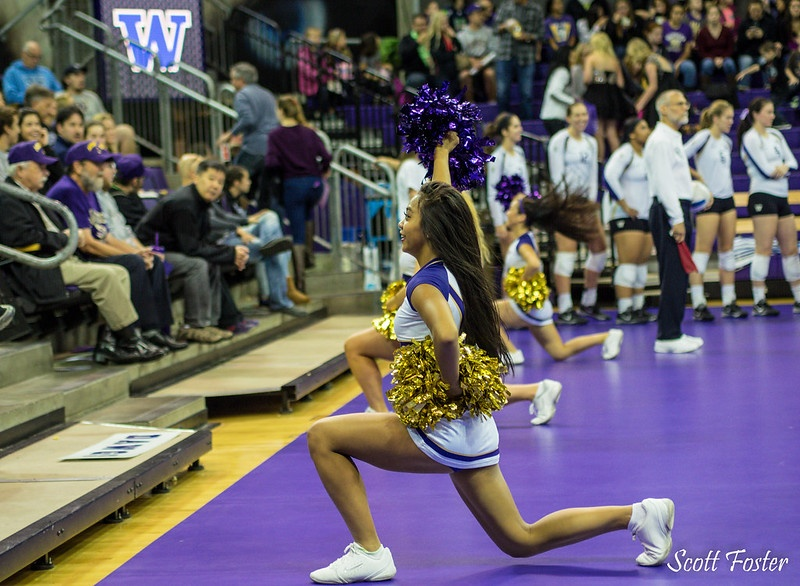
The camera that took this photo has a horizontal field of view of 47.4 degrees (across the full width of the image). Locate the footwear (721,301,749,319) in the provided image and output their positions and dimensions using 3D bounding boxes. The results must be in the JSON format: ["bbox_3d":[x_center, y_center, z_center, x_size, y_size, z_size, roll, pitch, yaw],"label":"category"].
[{"bbox_3d":[3.710,0.218,10.125,0.299,0.153,0.140,-1,3,5],"label":"footwear"}]

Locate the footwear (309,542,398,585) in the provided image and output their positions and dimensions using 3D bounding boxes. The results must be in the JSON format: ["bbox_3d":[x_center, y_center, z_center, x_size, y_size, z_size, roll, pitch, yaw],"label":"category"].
[{"bbox_3d":[-0.199,1.342,4.475,0.478,0.217,0.166,0,-9,-2],"label":"footwear"}]

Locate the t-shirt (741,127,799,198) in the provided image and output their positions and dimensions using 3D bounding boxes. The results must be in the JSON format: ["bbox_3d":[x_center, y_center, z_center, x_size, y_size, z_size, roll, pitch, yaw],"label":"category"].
[{"bbox_3d":[3.947,-1.393,9.742,0.550,0.757,0.354,-4,9,-7],"label":"t-shirt"}]

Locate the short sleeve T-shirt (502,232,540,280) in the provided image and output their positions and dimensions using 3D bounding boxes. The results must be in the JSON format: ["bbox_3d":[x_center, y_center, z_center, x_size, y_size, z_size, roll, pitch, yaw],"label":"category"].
[{"bbox_3d":[1.104,-0.321,8.348,0.193,0.352,0.357,-4,5,45],"label":"short sleeve T-shirt"}]

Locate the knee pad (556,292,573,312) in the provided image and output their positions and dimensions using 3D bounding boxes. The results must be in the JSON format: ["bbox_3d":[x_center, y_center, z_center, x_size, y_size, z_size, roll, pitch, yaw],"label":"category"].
[{"bbox_3d":[1.866,0.123,10.408,0.177,0.212,0.212,-2,-6,-1],"label":"knee pad"}]

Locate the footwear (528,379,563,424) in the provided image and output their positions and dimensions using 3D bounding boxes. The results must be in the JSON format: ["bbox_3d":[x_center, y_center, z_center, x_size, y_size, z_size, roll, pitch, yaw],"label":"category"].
[{"bbox_3d":[1.043,0.793,6.467,0.175,0.423,0.141,6,28,-1],"label":"footwear"}]

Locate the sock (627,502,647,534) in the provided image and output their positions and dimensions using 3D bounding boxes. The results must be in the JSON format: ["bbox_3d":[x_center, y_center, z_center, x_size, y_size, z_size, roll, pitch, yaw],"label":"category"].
[{"bbox_3d":[1.147,1.084,4.367,0.066,0.093,0.122,17,12,15],"label":"sock"}]

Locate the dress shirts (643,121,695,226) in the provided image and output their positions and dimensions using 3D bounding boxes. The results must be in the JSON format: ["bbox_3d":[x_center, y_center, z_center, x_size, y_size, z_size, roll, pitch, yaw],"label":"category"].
[{"bbox_3d":[2.434,-1.072,8.269,0.387,0.906,1.039,-5,11,11],"label":"dress shirts"}]

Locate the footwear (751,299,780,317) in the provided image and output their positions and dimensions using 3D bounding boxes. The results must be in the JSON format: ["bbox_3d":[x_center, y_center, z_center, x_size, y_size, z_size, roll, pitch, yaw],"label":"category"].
[{"bbox_3d":[4.046,0.197,10.099,0.340,0.208,0.125,2,2,9],"label":"footwear"}]

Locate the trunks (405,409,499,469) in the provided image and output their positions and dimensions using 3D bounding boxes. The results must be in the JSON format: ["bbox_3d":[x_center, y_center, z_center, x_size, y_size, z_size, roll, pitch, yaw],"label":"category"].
[{"bbox_3d":[0.277,0.698,4.236,0.261,0.180,0.328,-7,6,-40],"label":"trunks"}]

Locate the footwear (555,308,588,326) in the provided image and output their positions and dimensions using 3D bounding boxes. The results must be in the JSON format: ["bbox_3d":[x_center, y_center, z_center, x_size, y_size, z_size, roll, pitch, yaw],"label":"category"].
[{"bbox_3d":[1.944,0.294,10.352,0.393,0.191,0.146,0,2,9],"label":"footwear"}]

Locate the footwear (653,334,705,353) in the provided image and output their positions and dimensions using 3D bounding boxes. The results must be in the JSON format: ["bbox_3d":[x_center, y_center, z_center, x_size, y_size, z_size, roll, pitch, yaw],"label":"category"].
[{"bbox_3d":[2.605,0.503,8.526,0.320,0.133,0.197,-4,1,9],"label":"footwear"}]

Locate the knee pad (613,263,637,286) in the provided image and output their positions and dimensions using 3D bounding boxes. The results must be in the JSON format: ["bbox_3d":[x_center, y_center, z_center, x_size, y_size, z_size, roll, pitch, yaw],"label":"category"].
[{"bbox_3d":[2.471,-0.168,10.060,0.326,0.323,0.195,2,0,-30],"label":"knee pad"}]

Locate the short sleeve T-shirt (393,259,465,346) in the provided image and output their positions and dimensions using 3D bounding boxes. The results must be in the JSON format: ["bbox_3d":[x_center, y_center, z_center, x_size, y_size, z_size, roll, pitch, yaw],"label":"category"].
[{"bbox_3d":[0.115,0.060,4.268,0.358,0.410,0.253,-1,9,13],"label":"short sleeve T-shirt"}]

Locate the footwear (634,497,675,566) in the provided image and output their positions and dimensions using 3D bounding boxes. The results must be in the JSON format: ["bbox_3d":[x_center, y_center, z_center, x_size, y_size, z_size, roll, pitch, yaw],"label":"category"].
[{"bbox_3d":[1.237,1.168,4.442,0.218,0.350,0.200,0,2,43],"label":"footwear"}]

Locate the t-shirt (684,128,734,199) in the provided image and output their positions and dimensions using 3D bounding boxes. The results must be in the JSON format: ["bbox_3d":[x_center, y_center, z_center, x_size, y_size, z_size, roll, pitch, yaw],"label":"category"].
[{"bbox_3d":[3.326,-1.360,9.709,0.723,0.733,0.354,0,3,-21],"label":"t-shirt"}]

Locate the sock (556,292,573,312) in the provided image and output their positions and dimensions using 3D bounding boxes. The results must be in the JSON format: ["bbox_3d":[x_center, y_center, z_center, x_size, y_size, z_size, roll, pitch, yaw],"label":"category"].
[{"bbox_3d":[1.886,0.126,10.406,0.176,0.212,0.212,-2,-6,-1],"label":"sock"}]

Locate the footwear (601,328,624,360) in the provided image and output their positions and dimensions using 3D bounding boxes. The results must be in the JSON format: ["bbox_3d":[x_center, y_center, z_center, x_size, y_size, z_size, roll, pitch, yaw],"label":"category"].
[{"bbox_3d":[1.966,0.481,8.413,0.128,0.316,0.181,-5,34,-15],"label":"footwear"}]

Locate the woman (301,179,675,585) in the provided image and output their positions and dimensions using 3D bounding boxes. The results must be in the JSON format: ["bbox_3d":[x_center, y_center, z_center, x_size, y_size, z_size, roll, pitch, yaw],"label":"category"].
[{"bbox_3d":[0.316,0.439,4.315,1.592,1.916,0.456,-5,9,-9],"label":"woman"}]
